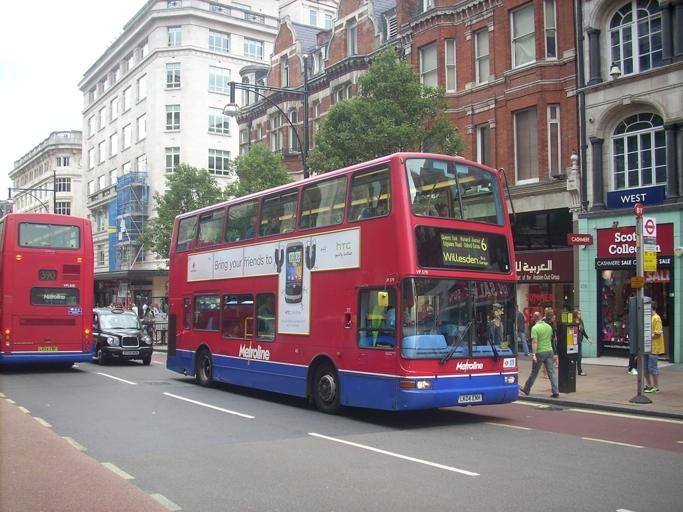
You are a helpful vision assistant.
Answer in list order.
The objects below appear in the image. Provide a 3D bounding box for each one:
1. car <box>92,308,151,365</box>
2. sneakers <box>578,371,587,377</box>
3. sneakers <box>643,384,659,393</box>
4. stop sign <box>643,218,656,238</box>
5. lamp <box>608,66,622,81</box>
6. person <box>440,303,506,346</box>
[{"bbox_3d":[-8.477,3.072,28.340,1.311,1.437,2.848,3,-8,-28],"label":"car"},{"bbox_3d":[7.353,3.608,22.919,0.279,0.226,0.101,-1,3,-12],"label":"sneakers"},{"bbox_3d":[7.855,3.401,19.152,0.383,0.189,0.150,3,-4,3],"label":"sneakers"},{"bbox_3d":[7.446,-0.673,18.300,0.416,0.490,0.029,2,1,-38],"label":"stop sign"},{"bbox_3d":[9.592,-6.442,26.586,0.443,0.552,0.449,-1,2,-37],"label":"lamp"},{"bbox_3d":[2.943,1.549,16.504,0.927,0.710,0.948,-7,-10,42],"label":"person"}]
